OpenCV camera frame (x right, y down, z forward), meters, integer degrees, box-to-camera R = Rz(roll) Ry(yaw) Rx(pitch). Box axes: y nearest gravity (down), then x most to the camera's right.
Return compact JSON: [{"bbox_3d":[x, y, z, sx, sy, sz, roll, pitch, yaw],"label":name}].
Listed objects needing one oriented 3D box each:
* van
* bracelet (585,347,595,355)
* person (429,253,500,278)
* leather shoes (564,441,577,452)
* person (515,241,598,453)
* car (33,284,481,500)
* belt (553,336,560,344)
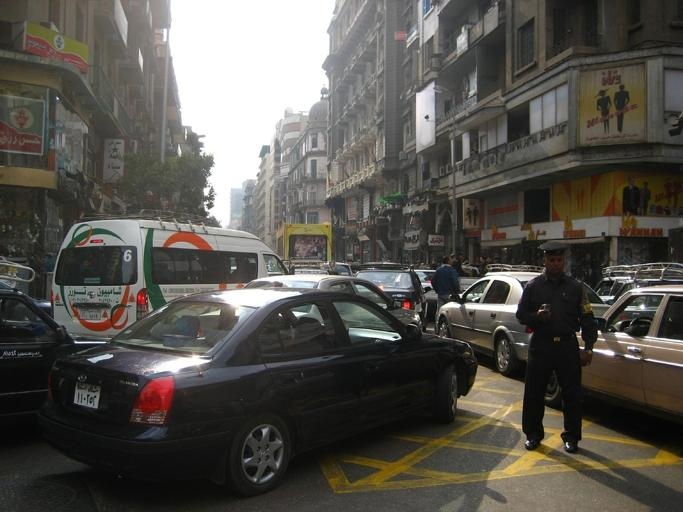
[{"bbox_3d":[-3.445,0.246,12.448,2.076,2.164,4.026,0,3,39],"label":"van"},{"bbox_3d":[2.810,1.082,6.925,0.080,0.087,0.082,9,1,-1],"label":"bracelet"},{"bbox_3d":[4.681,0.315,22.524,1.468,0.790,0.927,0,-1,-13],"label":"person"},{"bbox_3d":[2.602,2.173,6.943,0.087,0.073,0.131,5,5,28],"label":"leather shoes"},{"bbox_3d":[2.431,1.041,7.007,0.869,2.317,0.645,7,12,22],"label":"person"},{"bbox_3d":[-0.694,1.233,6.576,3.763,1.344,1.899,-4,3,-44],"label":"car"},{"bbox_3d":[2.440,0.945,6.935,0.075,0.058,0.044,1,8,7],"label":"belt"}]
